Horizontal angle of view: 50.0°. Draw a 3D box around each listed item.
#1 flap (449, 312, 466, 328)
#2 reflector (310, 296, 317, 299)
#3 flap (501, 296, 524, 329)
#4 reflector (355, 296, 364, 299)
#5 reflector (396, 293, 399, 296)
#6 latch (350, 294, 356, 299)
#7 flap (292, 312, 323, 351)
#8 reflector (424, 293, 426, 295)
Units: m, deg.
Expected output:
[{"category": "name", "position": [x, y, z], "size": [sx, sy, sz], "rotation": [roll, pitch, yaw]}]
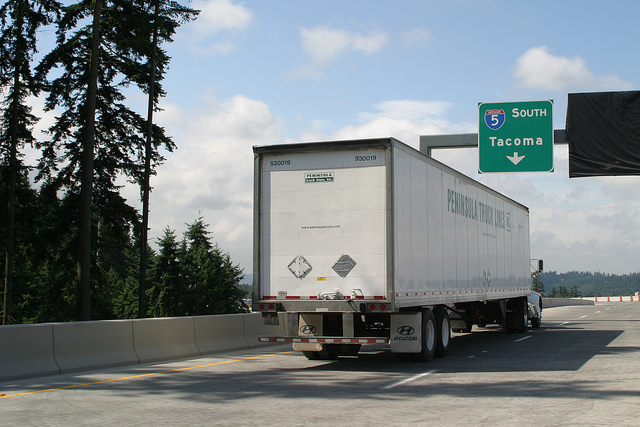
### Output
[{"category": "flap", "position": [5.940, 4.616, 29.543], "size": [0.631, 0.652, 1.653], "rotation": [-4, -9, 11]}, {"category": "reflector", "position": [-0.172, 2.337, 19.010], "size": [0.198, 0.076, 0.037], "rotation": [-7, -9, 27]}, {"category": "flap", "position": [8.238, 4.303, 29.517], "size": [0.820, 1.494, 1.559], "rotation": [-4, -9, 21]}, {"category": "reflector", "position": [1.077, 2.293, 18.649], "size": [0.239, 0.077, 0.043], "rotation": [-3, -8, 2]}, {"category": "reflector", "position": [2.101, 2.199, 18.573], "size": [0.010, 0.067, 0.140], "rotation": [-7, -10, 33]}, {"category": "latch", "position": [0.917, 2.285, 18.747], "size": [0.174, 0.174, 0.093], "rotation": [-1, -10, 10]}, {"category": "flap", "position": [-0.291, 3.399, 19.735], "size": [0.803, 1.086, 1.113], "rotation": [0, -9, -15]}, {"category": "reflector", "position": [3.069, 2.361, 20.067], "size": [0.023, 0.041, 0.044], "rotation": [-7, -19, 34]}]
